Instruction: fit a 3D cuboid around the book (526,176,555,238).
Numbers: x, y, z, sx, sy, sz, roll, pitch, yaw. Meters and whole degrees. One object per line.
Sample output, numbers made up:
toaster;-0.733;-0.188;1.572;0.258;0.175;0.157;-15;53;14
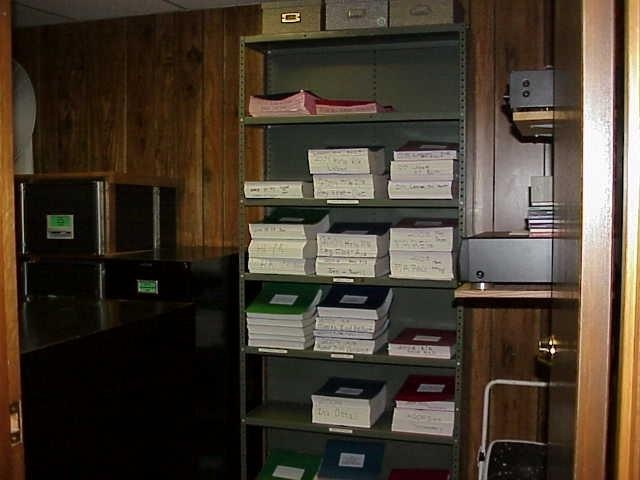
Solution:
book;0.771;-0.122;2.237;0.067;0.217;0.158;1;-21;5

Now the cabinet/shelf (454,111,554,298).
cabinet/shelf;0.667;-0.128;2.320;0.331;0.410;0.611;2;5;22
